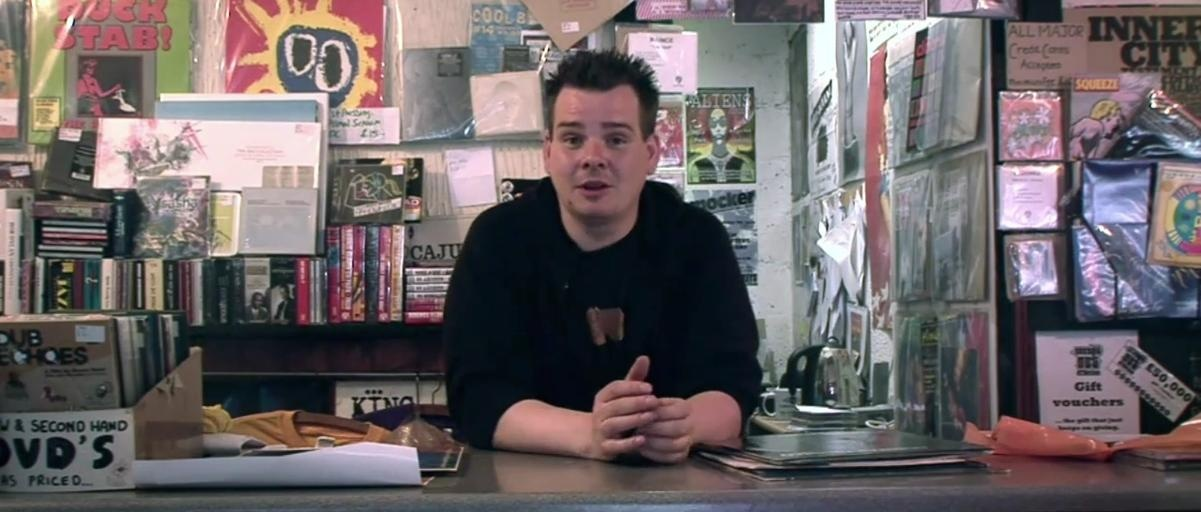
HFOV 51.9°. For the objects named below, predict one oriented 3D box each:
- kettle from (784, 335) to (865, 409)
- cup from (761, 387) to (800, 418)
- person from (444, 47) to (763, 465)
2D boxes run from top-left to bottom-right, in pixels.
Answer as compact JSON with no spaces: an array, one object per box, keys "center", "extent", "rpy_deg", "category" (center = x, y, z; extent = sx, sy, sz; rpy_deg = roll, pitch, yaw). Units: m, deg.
[{"center":[1.350,0.716,7.347],"extent":[0.494,0.402,0.269],"rpy_deg":[-2,0,8],"category":"kettle"},{"center":[1.086,0.886,7.413],"extent":[0.264,0.179,0.137],"rpy_deg":[-1,0,-8],"category":"cup"},{"center":[-0.001,-0.020,6.109],"extent":[1.560,2.060,0.566],"rpy_deg":[-2,0,3],"category":"person"}]
